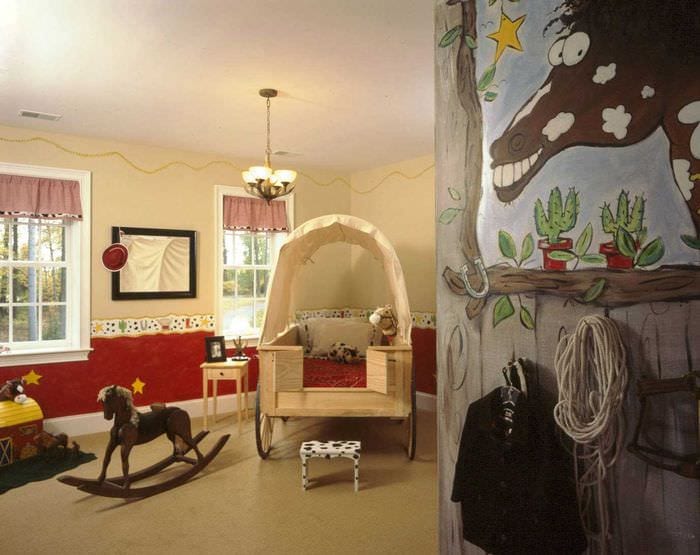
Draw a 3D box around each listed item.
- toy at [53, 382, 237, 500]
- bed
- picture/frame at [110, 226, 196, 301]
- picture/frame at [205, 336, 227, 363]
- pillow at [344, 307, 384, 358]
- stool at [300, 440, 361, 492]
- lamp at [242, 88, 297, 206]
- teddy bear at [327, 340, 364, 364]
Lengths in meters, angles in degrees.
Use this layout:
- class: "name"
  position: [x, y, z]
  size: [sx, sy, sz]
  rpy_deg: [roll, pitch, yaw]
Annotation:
- class: "toy"
  position: [-1.467, 1.157, 4.179]
  size: [0.271, 0.823, 1.168]
  rpy_deg: [-5, -1, 35]
- class: "bed"
  position: [-0.087, 0.856, 4.991]
  size: [1.219, 1.199, 1.588]
  rpy_deg: [0, 5, 3]
- class: "picture/frame"
  position: [-1.967, -0.137, 5.573]
  size: [0.676, 0.716, 0.047]
  rpy_deg: [1, -1, -36]
- class: "picture/frame"
  position: [-1.297, 0.701, 5.492]
  size: [0.243, 0.341, 0.025]
  rpy_deg: [-1, -6, -37]
- class: "pillow"
  position: [0.165, 0.517, 5.324]
  size: [0.098, 0.416, 0.385]
  rpy_deg: [9, -11, -30]
- class: "stool"
  position: [-0.141, 1.428, 4.172]
  size: [0.489, 0.363, 0.284]
  rpy_deg: [0, -9, -1]
- class: "lamp"
  position: [-0.682, -1.098, 4.731]
  size: [0.399, 0.943, 0.409]
  rpy_deg: [1, -3, -28]
- class: "teddy bear"
  position: [-0.047, 0.702, 5.232]
  size: [0.167, 0.111, 0.261]
  rpy_deg: [2, 5, -21]
